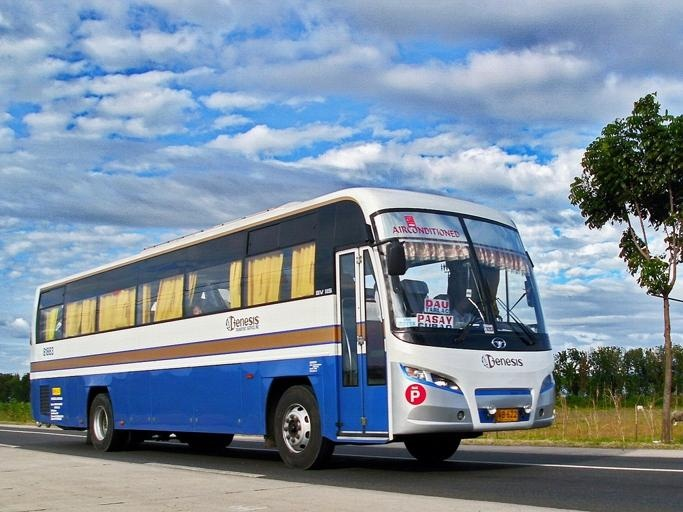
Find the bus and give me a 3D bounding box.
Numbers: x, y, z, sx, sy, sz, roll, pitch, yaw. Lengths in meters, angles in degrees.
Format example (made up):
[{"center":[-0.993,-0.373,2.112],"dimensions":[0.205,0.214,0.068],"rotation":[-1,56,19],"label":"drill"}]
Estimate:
[{"center":[-3.372,2.454,16.879],"dimensions":[5.223,4.821,17.628],"rotation":[6,-11,-36],"label":"bus"}]
